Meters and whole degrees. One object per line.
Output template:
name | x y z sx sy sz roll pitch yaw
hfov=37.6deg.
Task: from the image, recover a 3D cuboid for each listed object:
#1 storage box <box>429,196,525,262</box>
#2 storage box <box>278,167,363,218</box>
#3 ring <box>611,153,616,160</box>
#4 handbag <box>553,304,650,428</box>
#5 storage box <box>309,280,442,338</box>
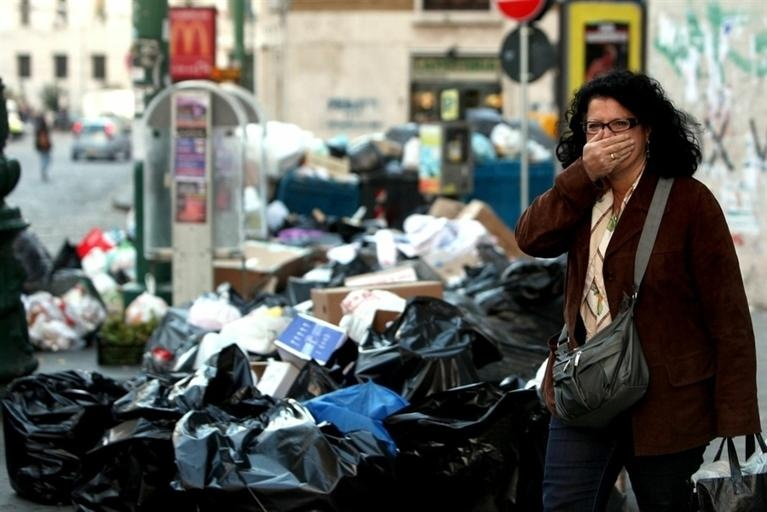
storage box | 0.921 -0.297 11.554 0.578 0.618 1.176 -3 2 -25
storage box | -0.773 -0.761 13.549 0.822 0.360 0.491 1 16 -26
ring | 1.167 -0.504 5.708 0.007 0.026 0.025 -6 33 -42
handbag | 1.119 0.570 5.686 0.398 0.446 0.234 -39 -11 30
storage box | -0.038 0.340 7.815 0.915 0.283 0.703 -2 2 -5
